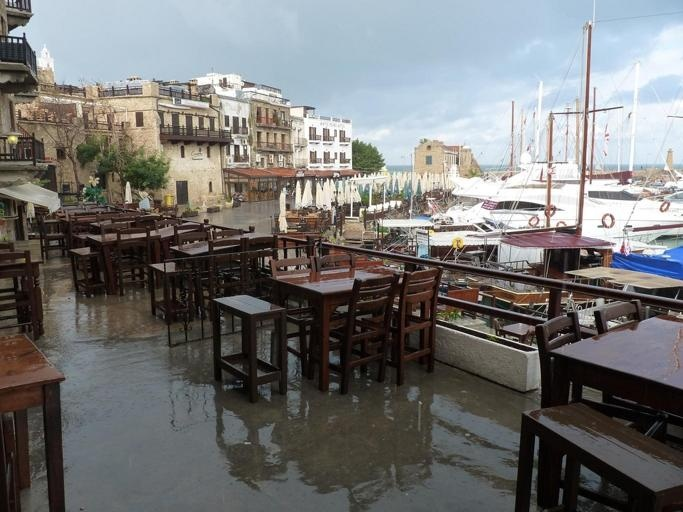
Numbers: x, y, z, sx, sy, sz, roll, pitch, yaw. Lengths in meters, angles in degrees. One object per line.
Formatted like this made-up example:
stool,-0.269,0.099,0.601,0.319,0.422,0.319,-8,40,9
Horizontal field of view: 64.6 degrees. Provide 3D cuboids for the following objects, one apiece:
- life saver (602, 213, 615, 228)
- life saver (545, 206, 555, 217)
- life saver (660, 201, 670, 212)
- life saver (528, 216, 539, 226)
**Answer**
life saver,13.744,-1.836,27.814,0.800,0.727,0.351,-2,14,-7
life saver,11.393,-2.447,29.553,0.401,0.580,0.987,8,16,31
life saver,16.861,-2.623,28.214,0.368,0.500,0.126,27,16,31
life saver,10.646,-1.928,29.982,0.581,0.558,0.153,1,-13,30
